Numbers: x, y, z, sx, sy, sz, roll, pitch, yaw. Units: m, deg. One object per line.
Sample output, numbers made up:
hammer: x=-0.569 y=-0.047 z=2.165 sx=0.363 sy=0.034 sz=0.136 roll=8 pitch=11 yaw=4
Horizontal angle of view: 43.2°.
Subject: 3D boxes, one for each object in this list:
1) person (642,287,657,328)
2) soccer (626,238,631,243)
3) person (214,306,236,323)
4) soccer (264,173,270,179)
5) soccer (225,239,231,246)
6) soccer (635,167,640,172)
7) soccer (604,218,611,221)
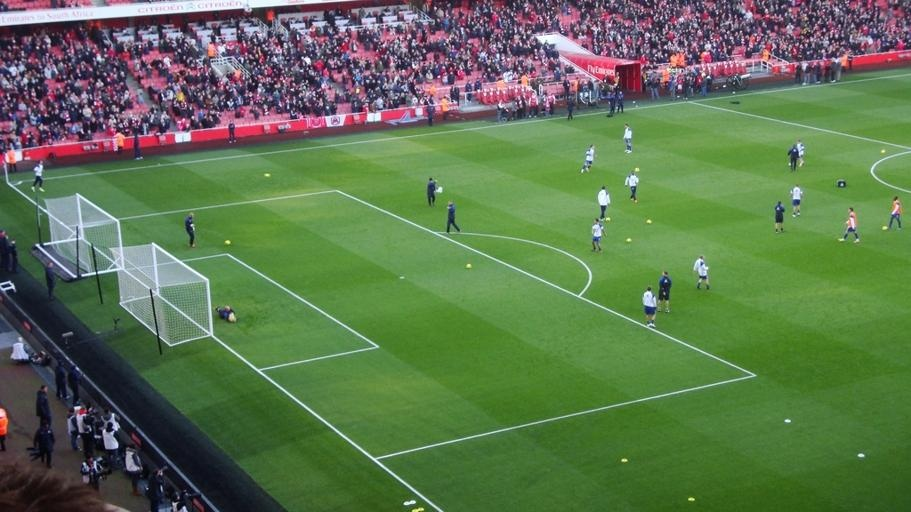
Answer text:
person: x=12.279 y=3.348 z=72.763 sx=0.689 sy=2.415 sz=1.222 roll=0 pitch=27 yaw=13
soccer: x=12.274 y=-1.036 z=81.471 sx=0.254 sy=0.182 sz=0.310 roll=12 pitch=22 yaw=32
person: x=-14.861 y=3.887 z=74.119 sx=0.718 sy=0.654 sz=1.581 roll=-7 pitch=10 yaw=-29
soccer: x=-15.287 y=-6.494 z=93.136 sx=0.384 sy=0.126 sz=0.392 roll=23 pitch=32 yaw=38
soccer: x=-16.335 y=-0.850 z=82.087 sx=0.145 sy=0.316 sz=0.436 roll=-36 pitch=-24 yaw=27
soccer: x=14.620 y=-6.967 z=92.539 sx=0.342 sy=0.196 sz=0.336 roll=-3 pitch=20 yaw=3
soccer: x=11.152 y=-2.629 z=84.316 sx=0.293 sy=0.156 sz=0.286 roll=-13 pitch=18 yaw=-24
